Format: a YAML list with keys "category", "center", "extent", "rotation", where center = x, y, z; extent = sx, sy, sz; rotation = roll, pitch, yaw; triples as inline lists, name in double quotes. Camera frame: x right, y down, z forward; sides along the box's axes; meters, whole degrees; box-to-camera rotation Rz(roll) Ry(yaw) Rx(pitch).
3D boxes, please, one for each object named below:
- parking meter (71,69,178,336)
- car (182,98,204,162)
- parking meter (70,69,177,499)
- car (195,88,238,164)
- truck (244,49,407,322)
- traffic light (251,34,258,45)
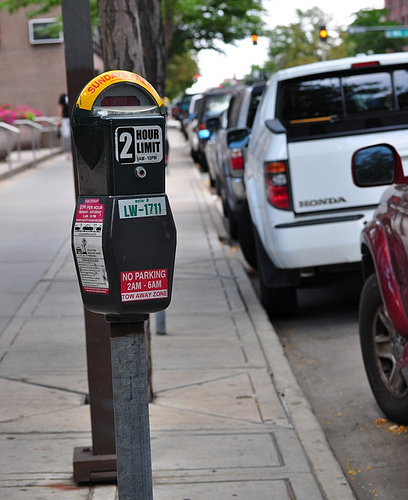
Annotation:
- category: "parking meter"
  center: [-0.204, -0.127, 1.338]
  extent: [0.257, 0.662, 0.309]
  rotation: [-2, 8, -14]
- category: "car"
  center: [-0.526, -5.169, 24.290]
  extent: [1.229, 1.165, 2.731]
  rotation: [10, -3, -1]
- category: "parking meter"
  center: [-0.205, 0.090, 1.365]
  extent: [0.255, 1.099, 0.310]
  rotation: [-2, 8, -14]
- category: "car"
  center: [0.497, -4.542, 18.149]
  extent: [1.456, 1.438, 2.634]
  rotation: [-3, 12, -1]
- category: "truck"
  center: [1.130, -0.758, 4.691]
  extent: [1.319, 1.280, 2.442]
  rotation: [-7, 9, 1]
- category: "traffic light"
  center: [0.761, -3.134, 7.862]
  extent: [0.100, 0.178, 0.324]
  rotation: [0, 8, 6]
